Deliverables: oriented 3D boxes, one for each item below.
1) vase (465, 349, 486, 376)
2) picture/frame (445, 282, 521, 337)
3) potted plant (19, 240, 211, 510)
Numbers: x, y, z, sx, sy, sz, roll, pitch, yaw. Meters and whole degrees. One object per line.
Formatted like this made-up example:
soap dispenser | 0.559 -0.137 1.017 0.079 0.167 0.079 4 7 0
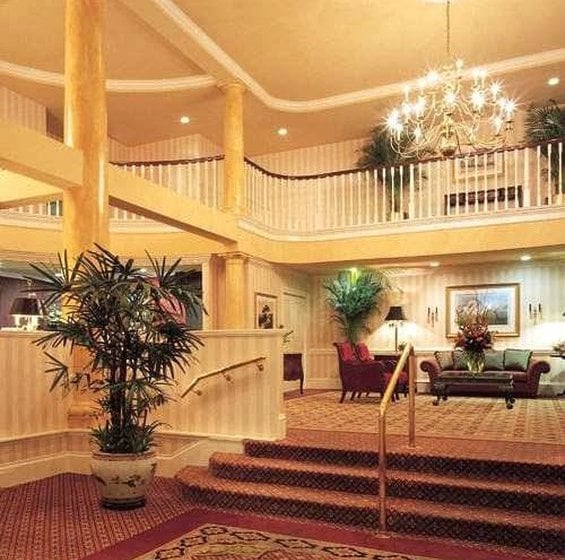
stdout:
vase | 3.265 1.329 8.134 0.411 0.469 0.362 0 -5 -2
picture/frame | 4.434 0.649 10.824 1.398 1.040 0.107 -2 -8 24
potted plant | -1.792 0.816 5.214 1.392 2.246 3.361 -5 1 -25
